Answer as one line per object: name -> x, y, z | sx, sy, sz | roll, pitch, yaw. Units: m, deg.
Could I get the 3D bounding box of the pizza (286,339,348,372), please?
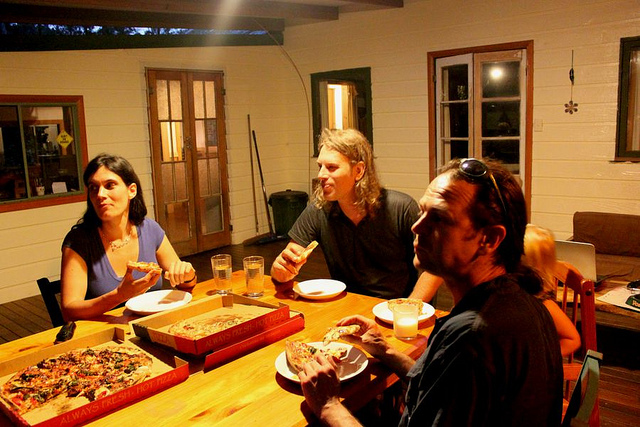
pizza -> -0.033, 0.602, 1.806 | 0.174, 0.028, 0.127 | -4, 13, -16

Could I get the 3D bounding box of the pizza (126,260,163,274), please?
pizza -> -0.970, 0.285, 2.290 | 0.152, 0.051, 0.112 | 5, 3, 34

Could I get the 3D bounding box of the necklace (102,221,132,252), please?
necklace -> -1.331, 0.153, 2.735 | 0.171, 0.200, 0.060 | -1, -2, -34

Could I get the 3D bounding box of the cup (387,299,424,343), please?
cup -> 0.415, 0.524, 2.107 | 0.156, 0.163, 0.188 | 0, 7, 2

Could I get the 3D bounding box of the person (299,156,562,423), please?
person -> 0.349, 0.252, 1.780 | 0.860, 0.992, 0.718 | 2, 0, 5

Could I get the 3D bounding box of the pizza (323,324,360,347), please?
pizza -> 0.091, 0.541, 1.910 | 0.109, 0.024, 0.104 | -11, 2, -3

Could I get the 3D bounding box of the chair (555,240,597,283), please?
chair -> 1.677, 0.316, 2.769 | 0.248, 0.226, 0.342 | -6, 7, -37

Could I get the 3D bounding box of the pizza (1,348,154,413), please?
pizza -> -0.974, 0.648, 1.709 | 0.442, 0.048, 0.465 | 12, 16, 41
